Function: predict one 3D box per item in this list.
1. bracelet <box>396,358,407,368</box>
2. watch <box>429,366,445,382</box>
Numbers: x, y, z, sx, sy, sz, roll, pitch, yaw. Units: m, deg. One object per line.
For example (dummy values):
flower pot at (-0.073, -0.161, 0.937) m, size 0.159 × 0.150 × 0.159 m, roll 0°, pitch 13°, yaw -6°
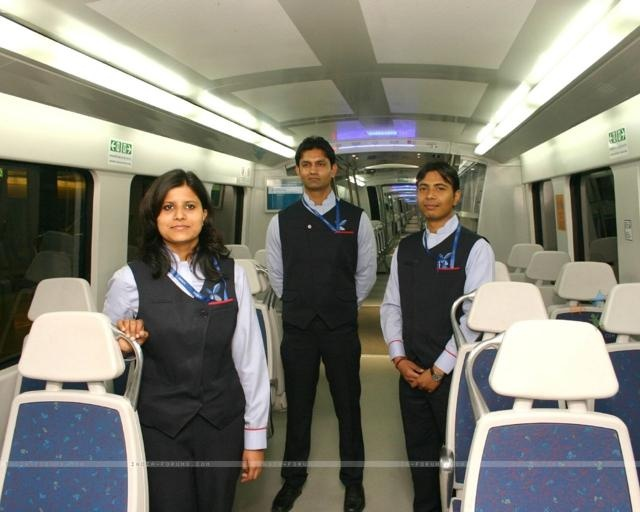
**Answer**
bracelet at (0.588, 0.777, 3.367) m, size 0.059 × 0.027 × 0.071 m, roll -30°, pitch -11°, yaw -40°
watch at (0.797, 0.800, 3.131) m, size 0.075 × 0.060 × 0.098 m, roll 12°, pitch 5°, yaw -4°
